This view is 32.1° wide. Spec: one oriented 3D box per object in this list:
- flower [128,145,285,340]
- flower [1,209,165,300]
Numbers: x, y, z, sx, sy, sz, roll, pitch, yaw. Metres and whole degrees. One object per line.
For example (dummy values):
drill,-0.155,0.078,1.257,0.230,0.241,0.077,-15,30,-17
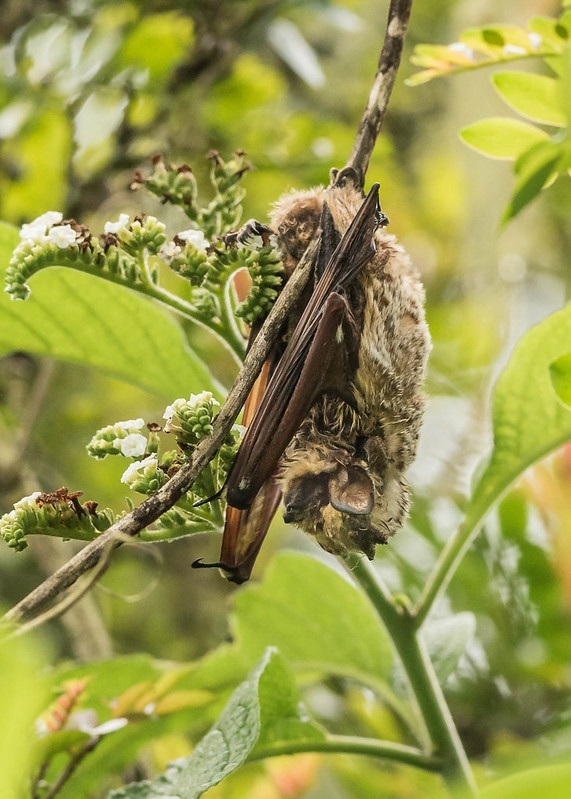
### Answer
flower,-0.183,-0.358,2.154,0.359,0.180,0.446,-38,23,-1
flower,-0.413,-0.276,1.997,0.223,0.278,0.108,3,93,-7
